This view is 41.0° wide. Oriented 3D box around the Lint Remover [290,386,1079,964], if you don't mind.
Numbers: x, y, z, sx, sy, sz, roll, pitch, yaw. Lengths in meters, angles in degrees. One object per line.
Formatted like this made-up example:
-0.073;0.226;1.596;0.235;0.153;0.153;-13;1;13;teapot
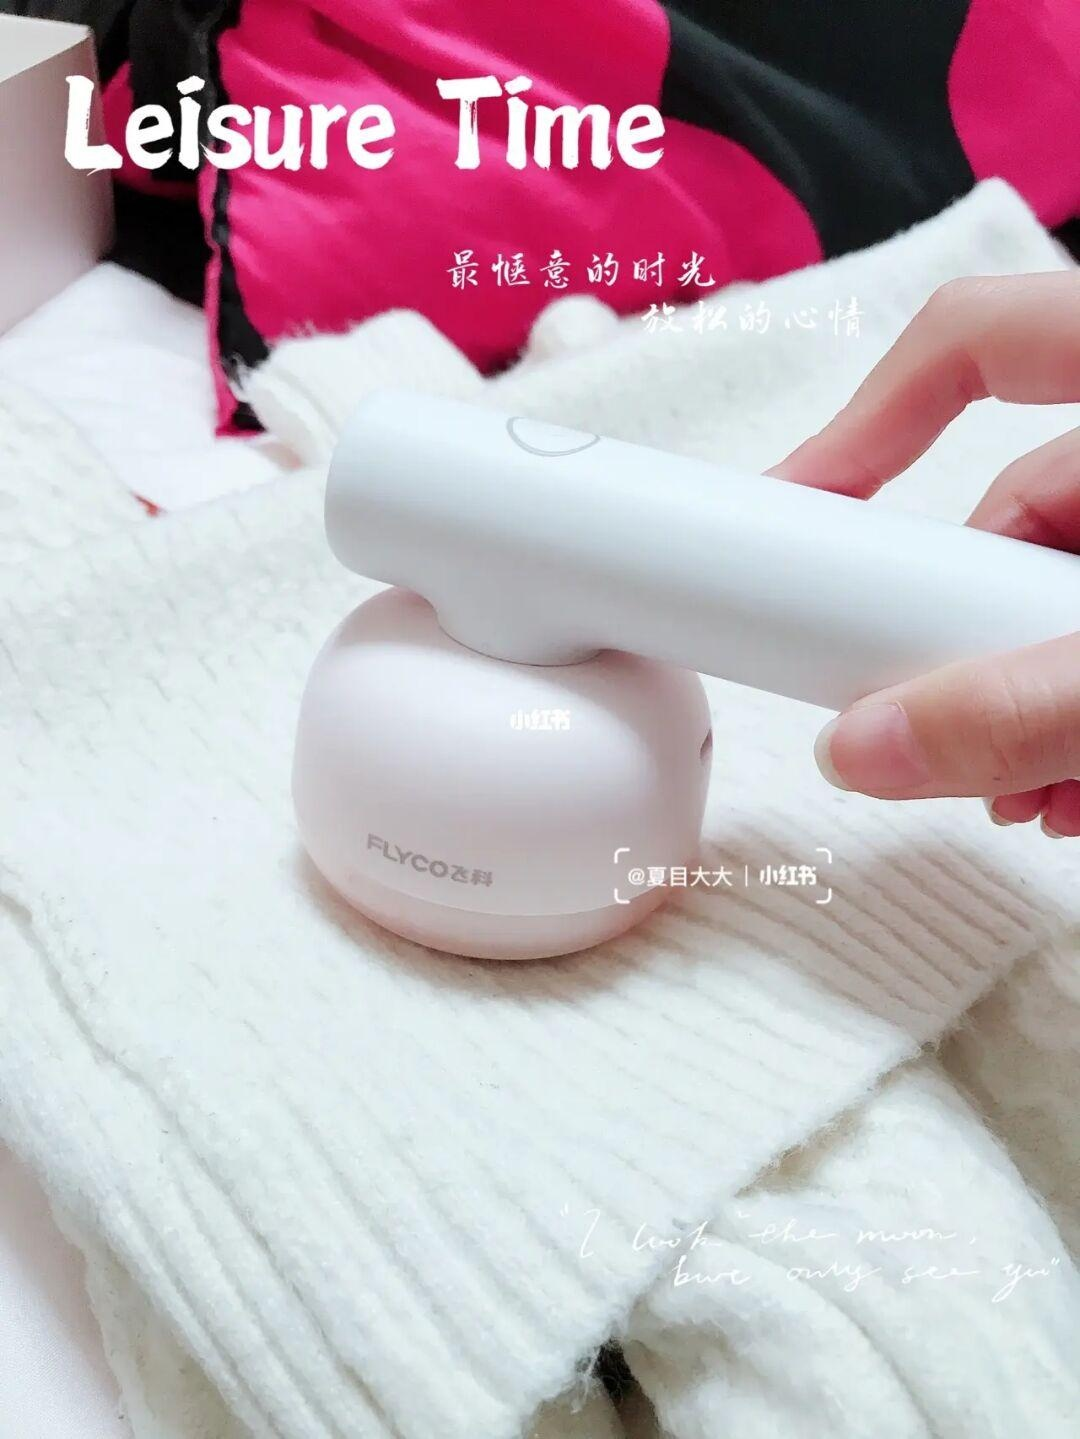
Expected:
0.025;-0.020;0.480;0.255;0.143;0.127;12;31;14;Lint Remover
